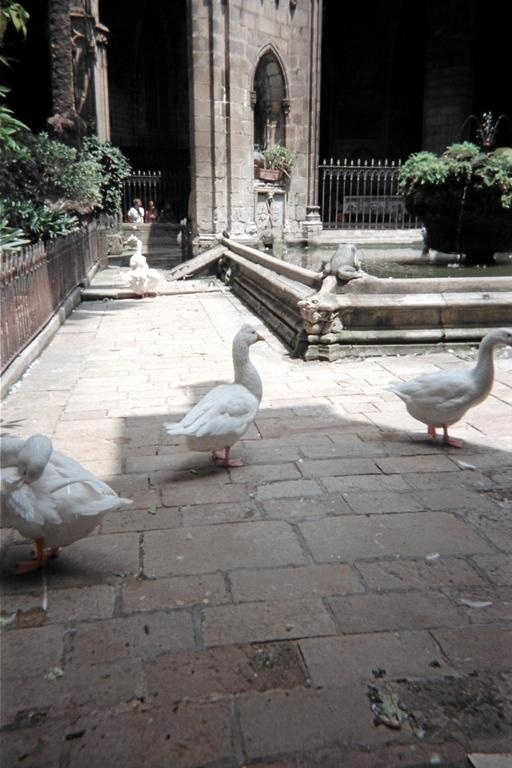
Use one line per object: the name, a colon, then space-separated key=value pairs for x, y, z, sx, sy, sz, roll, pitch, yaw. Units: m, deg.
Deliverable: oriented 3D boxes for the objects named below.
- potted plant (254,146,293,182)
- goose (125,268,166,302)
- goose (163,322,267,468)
potted plant: x=0.520 y=-7.848 z=18.908 sx=1.675 sy=1.238 sz=0.781 roll=-7 pitch=15 yaw=-31
goose: x=-2.489 y=-2.203 z=11.569 sx=0.477 sy=0.617 sz=0.893 roll=-9 pitch=6 yaw=-33
goose: x=-0.238 y=0.123 z=3.345 sx=0.462 sy=0.929 sz=0.987 roll=2 pitch=13 yaw=8
